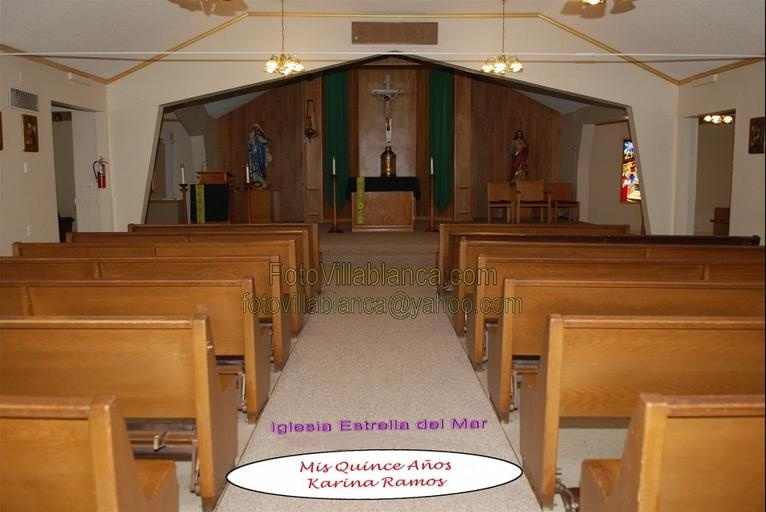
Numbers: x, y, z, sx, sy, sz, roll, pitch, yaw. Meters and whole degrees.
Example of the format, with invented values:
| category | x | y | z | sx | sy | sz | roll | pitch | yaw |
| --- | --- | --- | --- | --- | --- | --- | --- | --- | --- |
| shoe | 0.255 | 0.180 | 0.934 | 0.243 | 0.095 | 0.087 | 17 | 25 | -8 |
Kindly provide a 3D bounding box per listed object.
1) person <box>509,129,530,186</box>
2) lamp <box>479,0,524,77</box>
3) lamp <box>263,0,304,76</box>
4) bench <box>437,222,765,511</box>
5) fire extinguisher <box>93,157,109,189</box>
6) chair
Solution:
| category | x | y | z | sx | sy | sz | roll | pitch | yaw |
| --- | --- | --- | --- | --- | --- | --- | --- | --- | --- |
| person | 3.174 | -2.278 | 13.408 | 0.397 | 1.196 | 0.435 | 6 | 15 | 13 |
| lamp | 1.772 | -3.180 | 8.392 | 0.561 | 1.099 | 1.871 | 5 | 14 | 10 |
| lamp | -1.437 | -3.204 | 8.472 | 0.521 | 1.108 | 1.640 | 0 | 14 | -9 |
| bench | 1.199 | 0.638 | 3.292 | 1.468 | 1.359 | 0.358 | 0 | -11 | -3 |
| fire extinguisher | -4.542 | -1.336 | 9.366 | 0.206 | 0.501 | 0.140 | -5 | 16 | -26 |
| chair | 3.143 | -1.102 | 12.019 | 1.381 | 0.701 | 0.496 | -1 | 7 | -3 |
